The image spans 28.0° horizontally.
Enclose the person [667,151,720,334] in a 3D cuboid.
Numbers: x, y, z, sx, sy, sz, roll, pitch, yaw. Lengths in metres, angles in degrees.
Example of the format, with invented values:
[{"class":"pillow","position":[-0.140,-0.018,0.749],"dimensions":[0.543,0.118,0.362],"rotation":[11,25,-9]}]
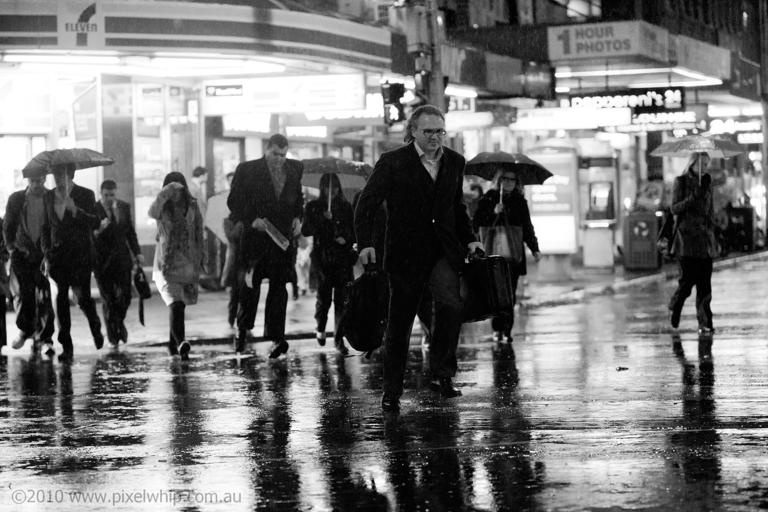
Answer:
[{"class":"person","position":[4.131,-0.196,20.516],"dimensions":[0.568,2.401,0.700],"rotation":[-1,-1,12]}]

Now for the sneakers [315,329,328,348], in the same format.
[{"class":"sneakers","position":[-0.792,1.063,19.967],"dimensions":[0.141,0.201,0.209],"rotation":[-1,33,-8]}]

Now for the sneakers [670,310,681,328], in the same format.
[{"class":"sneakers","position":[3.964,0.857,20.824],"dimensions":[0.165,0.229,0.088],"rotation":[0,-1,-3]}]

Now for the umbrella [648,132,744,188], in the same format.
[{"class":"umbrella","position":[4.710,-1.599,23.431],"dimensions":[1.329,0.433,1.311],"rotation":[1,-4,-3]}]

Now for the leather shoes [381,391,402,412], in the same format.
[{"class":"leather shoes","position":[0.088,1.492,15.648],"dimensions":[0.191,0.205,0.183],"rotation":[5,-7,-44]}]

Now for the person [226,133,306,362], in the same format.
[{"class":"person","position":[-1.414,-0.101,18.753],"dimensions":[0.897,2.725,0.773],"rotation":[-1,-1,3]}]

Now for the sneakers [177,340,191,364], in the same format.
[{"class":"sneakers","position":[-2.444,1.176,19.059],"dimensions":[0.115,0.319,0.137],"rotation":[1,17,-24]}]

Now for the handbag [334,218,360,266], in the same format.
[{"class":"handbag","position":[-0.456,-0.167,19.532],"dimensions":[0.503,0.499,0.154],"rotation":[-2,6,-36]}]

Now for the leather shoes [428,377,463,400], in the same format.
[{"class":"leather shoes","position":[0.641,1.387,16.211],"dimensions":[0.154,0.165,0.393],"rotation":[-1,-3,-37]}]

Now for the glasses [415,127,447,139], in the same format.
[{"class":"glasses","position":[0.536,-1.256,15.615],"dimensions":[0.285,0.090,0.142],"rotation":[-1,0,-29]}]

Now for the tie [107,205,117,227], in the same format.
[{"class":"tie","position":[-3.564,-0.565,20.431],"dimensions":[0.127,0.274,0.202],"rotation":[-1,-1,27]}]
